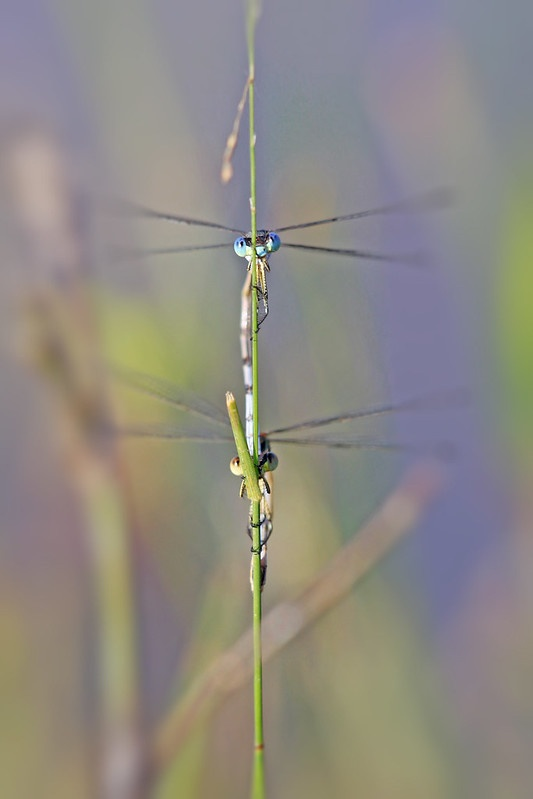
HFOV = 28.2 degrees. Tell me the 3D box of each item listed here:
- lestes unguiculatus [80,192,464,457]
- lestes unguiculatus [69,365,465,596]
[{"bbox_3d":[0.002,-0.077,1.490,0.435,0.227,0.442,-2,-88,2],"label":"lestes unguiculatus"},{"bbox_3d":[-0.015,0.074,1.689,0.520,0.276,0.311,3,-76,-3],"label":"lestes unguiculatus"}]
